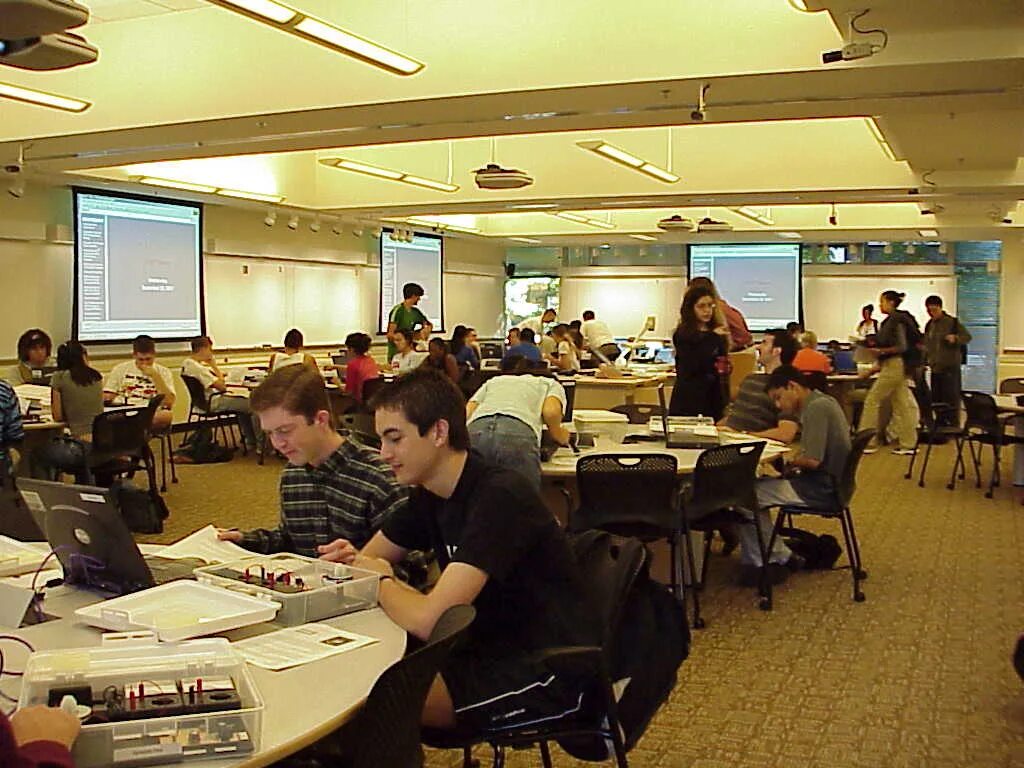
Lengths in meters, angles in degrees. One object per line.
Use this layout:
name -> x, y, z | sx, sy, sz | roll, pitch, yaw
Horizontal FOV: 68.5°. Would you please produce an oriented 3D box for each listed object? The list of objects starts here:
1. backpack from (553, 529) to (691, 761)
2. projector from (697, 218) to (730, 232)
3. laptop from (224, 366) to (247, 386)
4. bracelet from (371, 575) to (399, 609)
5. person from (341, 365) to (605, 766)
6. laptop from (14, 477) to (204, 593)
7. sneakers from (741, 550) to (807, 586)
backpack -> 0.326, 0.849, 2.232 | 0.375, 0.806, 0.364 | 2, 7, 13
projector -> 3.145, -2.471, 11.613 | 0.542, 0.151, 0.498 | 0, 3, -3
laptop -> -3.526, -0.110, 9.757 | 0.284, 0.230, 0.062 | 7, -5, 5
bracelet -> -0.346, 0.596, 2.145 | 0.082, 0.075, 0.078 | -1, -10, 7
person -> -0.165, 0.460, 2.182 | 0.705, 0.994, 0.509 | 4, 8, 30
laptop -> -1.141, 0.421, 2.217 | 0.468, 0.305, 0.406 | 1, 2, 33
sneakers -> 1.840, 1.298, 5.363 | 0.607, 0.208, 0.186 | -4, 5, -31
